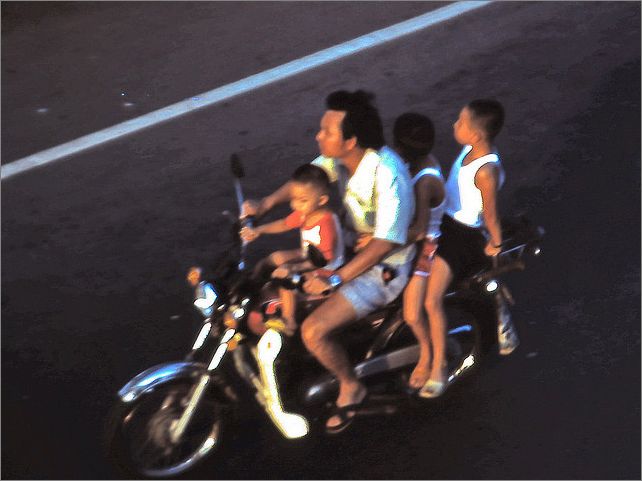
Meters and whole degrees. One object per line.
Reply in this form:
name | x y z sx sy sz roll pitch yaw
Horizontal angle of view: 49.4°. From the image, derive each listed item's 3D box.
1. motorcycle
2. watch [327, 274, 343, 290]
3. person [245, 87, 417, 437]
motorcycle | -0.011 0.343 5.431 3.535 1.905 1.724 -18 36 -10
watch | 0.082 0.258 4.462 0.098 0.054 0.053 -34 14 -31
person | 0.096 -0.004 5.007 1.227 2.133 1.391 -16 27 -24
